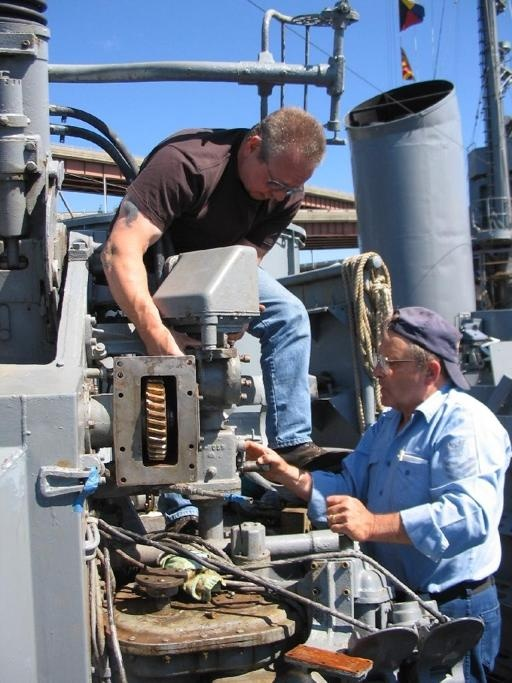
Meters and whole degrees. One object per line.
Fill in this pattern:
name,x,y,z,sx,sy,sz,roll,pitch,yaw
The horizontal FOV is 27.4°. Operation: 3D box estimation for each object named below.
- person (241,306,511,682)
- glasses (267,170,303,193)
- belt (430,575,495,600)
person,0.466,0.501,3.467,0.728,1.249,0.744,3,-4,-41
glasses,0.080,-0.535,3.559,0.076,0.071,0.022,0,-31,-41
belt,0.689,0.819,3.440,0.252,0.070,0.103,3,-4,-39
